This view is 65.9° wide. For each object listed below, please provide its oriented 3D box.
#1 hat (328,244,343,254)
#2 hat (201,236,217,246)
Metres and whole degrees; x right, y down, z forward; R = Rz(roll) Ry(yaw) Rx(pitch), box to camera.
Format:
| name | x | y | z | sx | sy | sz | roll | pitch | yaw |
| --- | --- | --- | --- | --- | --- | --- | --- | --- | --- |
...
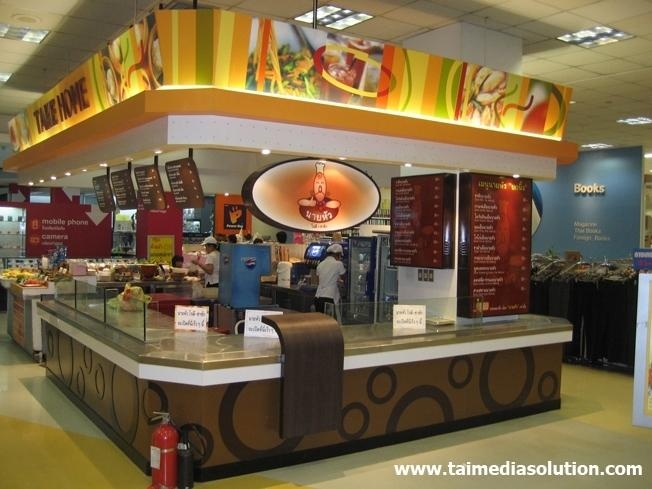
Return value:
| name | x | y | z | sx | sy | sz | roll | pitch | yaw |
| --- | --- | --- | --- | --- | --- | --- | --- | --- | --- |
| hat | 0.125 | 0.064 | 7.977 | 0.205 | 0.154 | 0.348 | 1 | 2 | -4 |
| hat | -2.441 | -0.081 | 10.464 | 0.267 | 0.149 | 0.206 | 9 | 4 | 4 |
